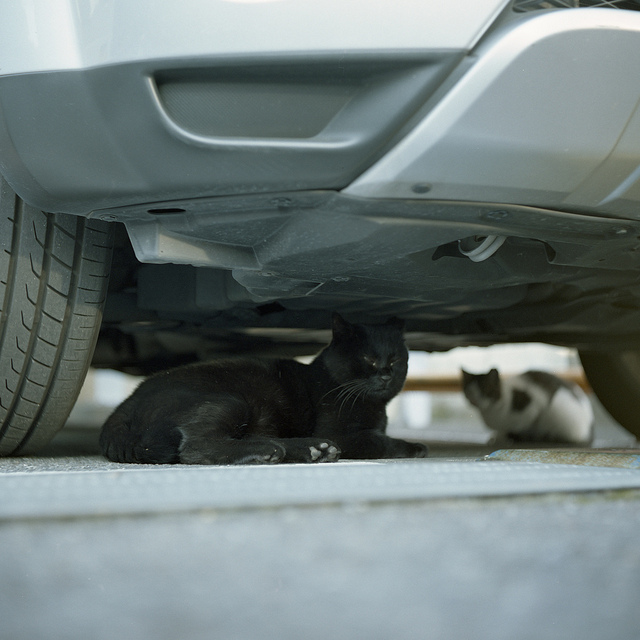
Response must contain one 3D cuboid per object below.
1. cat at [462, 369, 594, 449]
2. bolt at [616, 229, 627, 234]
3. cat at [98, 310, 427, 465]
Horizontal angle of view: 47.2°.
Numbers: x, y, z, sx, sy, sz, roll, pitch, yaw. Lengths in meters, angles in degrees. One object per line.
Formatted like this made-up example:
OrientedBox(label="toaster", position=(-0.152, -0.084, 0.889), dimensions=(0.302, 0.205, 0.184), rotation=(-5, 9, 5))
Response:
OrientedBox(label="cat", position=(0.973, 0.391, 3.419), dimensions=(0.564, 0.341, 0.460), rotation=(-2, -8, 8))
OrientedBox(label="bolt", position=(0.615, -0.182, 1.494), dimensions=(0.008, 0.007, 0.026), rotation=(-2, -3, 40))
OrientedBox(label="cat", position=(-0.097, 0.227, 2.171), dimensions=(1.067, 0.300, 0.497), rotation=(-1, -3, -14))
